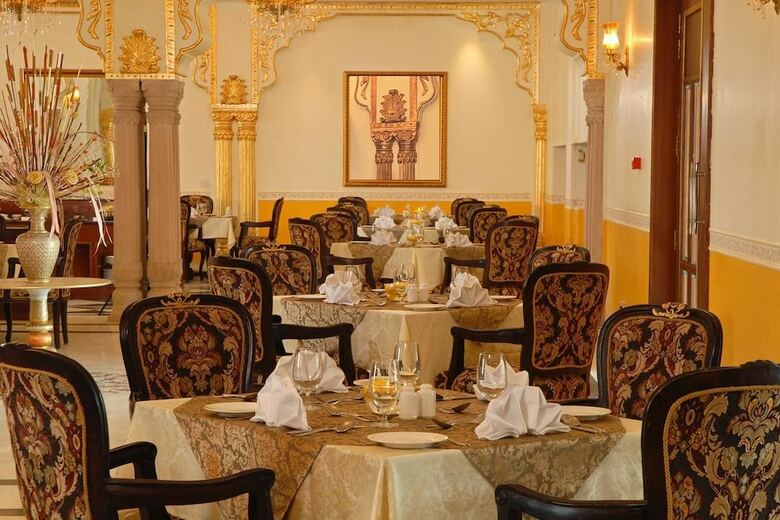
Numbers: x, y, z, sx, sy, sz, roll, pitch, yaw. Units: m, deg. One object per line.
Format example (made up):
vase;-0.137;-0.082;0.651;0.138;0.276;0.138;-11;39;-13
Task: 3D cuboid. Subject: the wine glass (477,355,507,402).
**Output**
wine glass;0.398;0.463;3.040;0.141;0.185;0.111;1;1;26

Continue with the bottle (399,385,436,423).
bottle;0.113;0.559;3.034;0.189;0.125;0.144;1;0;-15

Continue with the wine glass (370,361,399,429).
wine glass;-0.028;0.499;2.897;0.114;0.250;0.238;1;1;0

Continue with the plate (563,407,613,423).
plate;0.763;0.609;3.067;0.221;0.051;0.149;1;0;-27

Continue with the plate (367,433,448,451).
plate;0.060;0.635;2.689;0.284;0.034;0.134;1;0;3

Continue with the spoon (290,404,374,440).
spoon;-0.183;0.594;2.960;0.098;0.114;0.602;6;-4;26

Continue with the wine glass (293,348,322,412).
wine glass;-0.334;0.446;3.060;0.108;0.189;0.123;1;1;-2

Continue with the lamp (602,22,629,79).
lamp;2.730;-2.506;9.316;0.313;0.681;0.202;3;23;19

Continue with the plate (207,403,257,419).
plate;-0.646;0.599;3.084;0.197;0.043;0.245;1;0;-14
